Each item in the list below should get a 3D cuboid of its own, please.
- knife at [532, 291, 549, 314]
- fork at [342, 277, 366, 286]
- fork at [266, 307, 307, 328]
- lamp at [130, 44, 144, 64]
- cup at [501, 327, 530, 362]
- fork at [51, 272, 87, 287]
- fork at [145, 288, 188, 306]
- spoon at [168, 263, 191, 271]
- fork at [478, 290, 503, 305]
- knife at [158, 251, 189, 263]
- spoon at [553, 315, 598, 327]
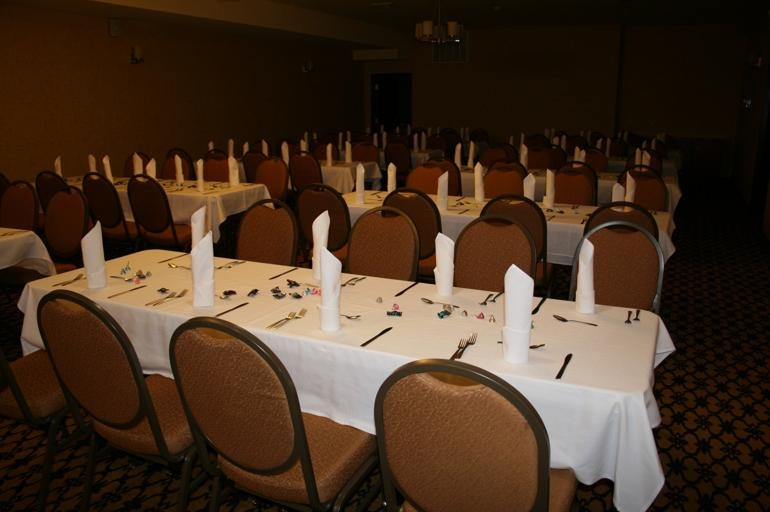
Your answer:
[{"bbox_3d":[0.964,0.282,3.298,0.038,0.015,0.310,17,27,22],"label":"knife"},{"bbox_3d":[-0.198,0.159,3.428,0.054,0.027,0.172,14,14,26],"label":"fork"},{"bbox_3d":[-0.532,0.346,2.935,0.068,0.041,0.275,8,22,27],"label":"fork"},{"bbox_3d":[-4.557,-3.738,9.875,0.152,0.326,0.299,11,19,41],"label":"lamp"},{"bbox_3d":[0.609,0.409,2.577,0.124,0.175,0.157,-3,11,-14],"label":"cup"},{"bbox_3d":[-2.001,0.155,3.405,0.052,0.030,0.207,18,24,24],"label":"fork"},{"bbox_3d":[-1.281,0.222,3.175,0.069,0.038,0.235,20,24,34],"label":"fork"},{"bbox_3d":[-1.412,0.069,3.677,0.215,0.041,0.064,9,15,31],"label":"spoon"},{"bbox_3d":[0.654,0.229,3.206,0.053,0.040,0.271,6,12,29],"label":"fork"},{"bbox_3d":[-1.536,0.014,3.876,0.572,0.066,0.038,-14,30,53],"label":"knife"},{"bbox_3d":[1.016,0.352,2.906,0.315,0.063,0.069,-2,-3,12],"label":"spoon"}]
